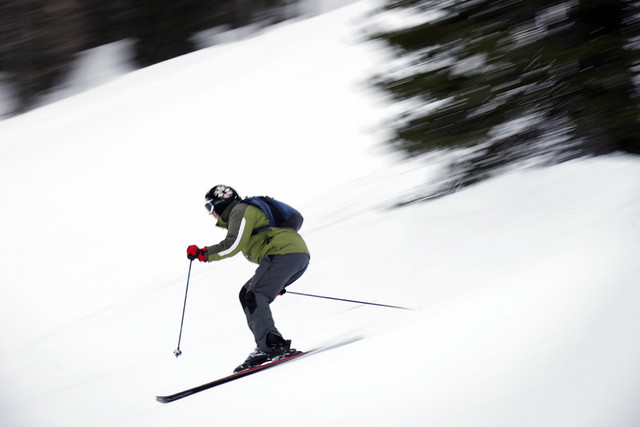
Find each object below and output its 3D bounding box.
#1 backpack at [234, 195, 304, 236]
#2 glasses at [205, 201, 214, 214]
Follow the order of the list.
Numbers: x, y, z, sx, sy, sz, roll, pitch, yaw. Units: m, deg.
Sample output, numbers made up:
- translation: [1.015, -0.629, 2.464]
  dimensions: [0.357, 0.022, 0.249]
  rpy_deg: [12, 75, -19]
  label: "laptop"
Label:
- translation: [-0.966, 0.057, 16.268]
  dimensions: [1.118, 0.403, 0.701]
  rpy_deg: [18, 6, -1]
  label: "backpack"
- translation: [-2.192, -0.136, 16.332]
  dimensions: [0.186, 0.200, 0.123]
  rpy_deg: [0, 10, -1]
  label: "glasses"
